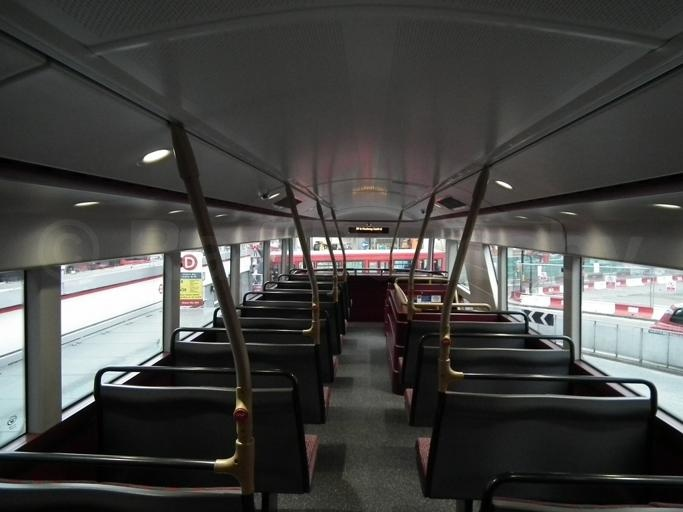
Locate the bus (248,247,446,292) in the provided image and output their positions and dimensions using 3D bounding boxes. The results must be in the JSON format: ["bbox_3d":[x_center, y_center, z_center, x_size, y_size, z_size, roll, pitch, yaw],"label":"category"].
[{"bbox_3d":[0.657,0.730,15.377,7.213,1.812,1.914,1,3,5],"label":"bus"}]
